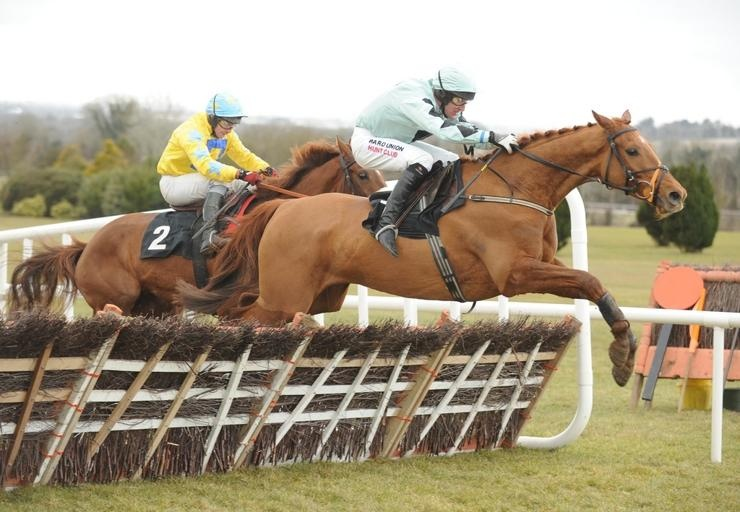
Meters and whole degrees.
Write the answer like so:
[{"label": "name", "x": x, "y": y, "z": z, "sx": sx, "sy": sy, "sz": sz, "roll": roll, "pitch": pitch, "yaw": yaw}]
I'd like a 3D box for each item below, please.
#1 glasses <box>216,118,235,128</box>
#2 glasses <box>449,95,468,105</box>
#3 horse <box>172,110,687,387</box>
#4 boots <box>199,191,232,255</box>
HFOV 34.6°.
[{"label": "glasses", "x": -1.041, "y": -0.971, "z": 8.638, "sx": 0.097, "sy": 0.033, "sz": 0.069, "roll": 29, "pitch": -18, "yaw": 15}, {"label": "glasses", "x": 0.608, "y": -1.050, "z": 7.964, "sx": 0.106, "sy": 0.048, "sz": 0.138, "roll": 5, "pitch": 12, "yaw": -42}, {"label": "horse", "x": 0.344, "y": 0.037, "z": 8.146, "sx": 3.900, "sy": 1.644, "sz": 0.827, "roll": -1, "pitch": 4, "yaw": 31}, {"label": "boots", "x": -1.060, "y": -0.256, "z": 8.445, "sx": 0.160, "sy": 0.436, "sz": 0.174, "roll": 14, "pitch": -16, "yaw": -31}]
